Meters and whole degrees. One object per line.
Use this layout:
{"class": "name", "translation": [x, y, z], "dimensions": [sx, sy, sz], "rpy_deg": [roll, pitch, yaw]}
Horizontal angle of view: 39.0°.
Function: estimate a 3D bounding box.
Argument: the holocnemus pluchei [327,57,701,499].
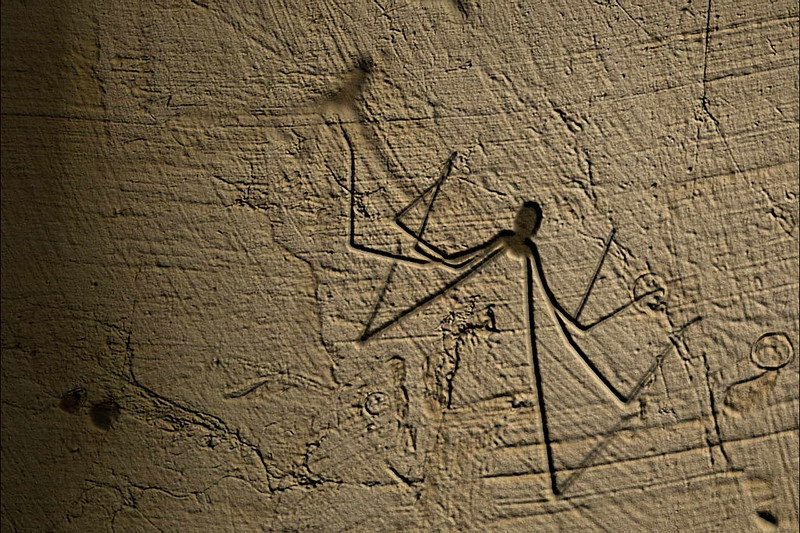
{"class": "holocnemus pluchei", "translation": [0.670, 0.230, 7.882], "dimensions": [2.549, 0.595, 1.483], "rpy_deg": [39, -75, -7]}
